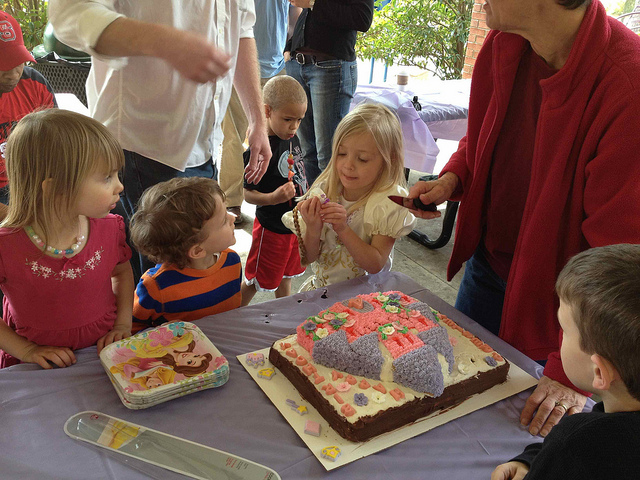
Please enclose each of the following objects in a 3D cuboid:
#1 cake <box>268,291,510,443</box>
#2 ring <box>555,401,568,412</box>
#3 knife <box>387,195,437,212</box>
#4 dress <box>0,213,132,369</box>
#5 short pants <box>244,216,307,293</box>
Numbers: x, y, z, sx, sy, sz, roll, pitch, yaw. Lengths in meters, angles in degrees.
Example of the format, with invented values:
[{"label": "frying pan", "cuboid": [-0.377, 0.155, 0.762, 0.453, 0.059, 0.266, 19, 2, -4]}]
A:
[{"label": "cake", "cuboid": [0.265, 0.433, 1.706, 0.552, 0.177, 0.488, -13, 29, -27]}, {"label": "ring", "cuboid": [0.795, 0.553, 1.642, 0.009, 0.034, 0.032, -43, 57, 3]}, {"label": "knife", "cuboid": [0.395, -0.154, 2.098, 0.199, 0.048, 0.045, 17, 1, -1]}, {"label": "dress", "cuboid": [-0.927, 0.194, 1.779, 0.273, 0.445, 0.454, 27, 26, 33]}, {"label": "short pants", "cuboid": [-0.268, 0.100, 3.017, 0.220, 0.462, 0.393, 35, 38, 23]}]
